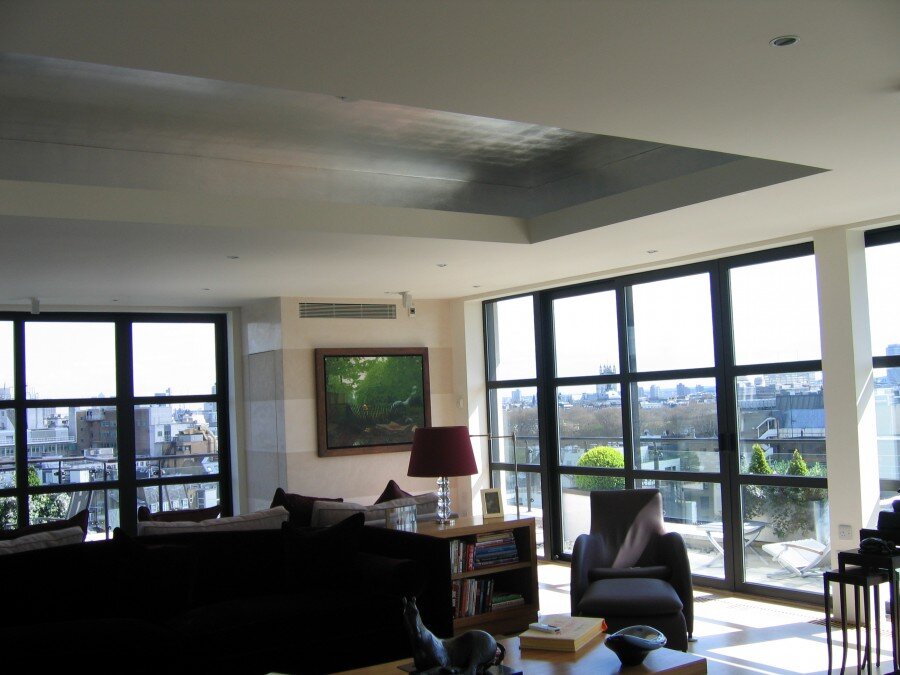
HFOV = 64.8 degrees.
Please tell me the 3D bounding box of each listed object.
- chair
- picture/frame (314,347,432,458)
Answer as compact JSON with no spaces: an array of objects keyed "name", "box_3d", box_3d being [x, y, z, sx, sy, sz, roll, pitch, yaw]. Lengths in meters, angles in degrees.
[{"name":"chair","box_3d":[1.360,1.796,5.478,0.882,1.180,1.174,-3,-11,5]},{"name":"picture/frame","box_3d":[-0.978,0.787,8.335,1.310,1.160,0.100,0,-4,-30]}]
